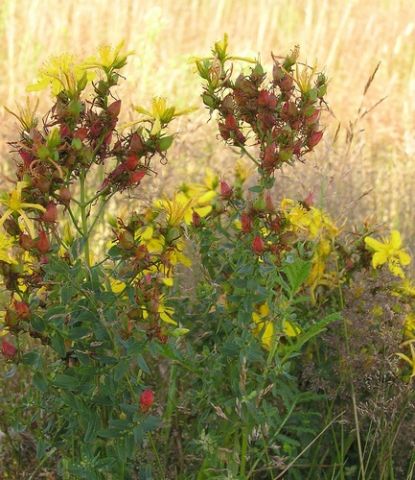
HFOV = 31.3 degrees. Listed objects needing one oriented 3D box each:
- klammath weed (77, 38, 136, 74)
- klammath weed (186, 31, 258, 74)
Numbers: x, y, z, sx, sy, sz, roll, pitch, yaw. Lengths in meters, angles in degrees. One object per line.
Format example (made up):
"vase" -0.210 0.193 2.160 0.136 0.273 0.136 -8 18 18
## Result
"klammath weed" -0.203 -0.361 1.474 0.098 0.044 0.092 -2 -1 -9
"klammath weed" 0.042 -0.397 1.548 0.157 0.065 0.139 -14 22 -34
